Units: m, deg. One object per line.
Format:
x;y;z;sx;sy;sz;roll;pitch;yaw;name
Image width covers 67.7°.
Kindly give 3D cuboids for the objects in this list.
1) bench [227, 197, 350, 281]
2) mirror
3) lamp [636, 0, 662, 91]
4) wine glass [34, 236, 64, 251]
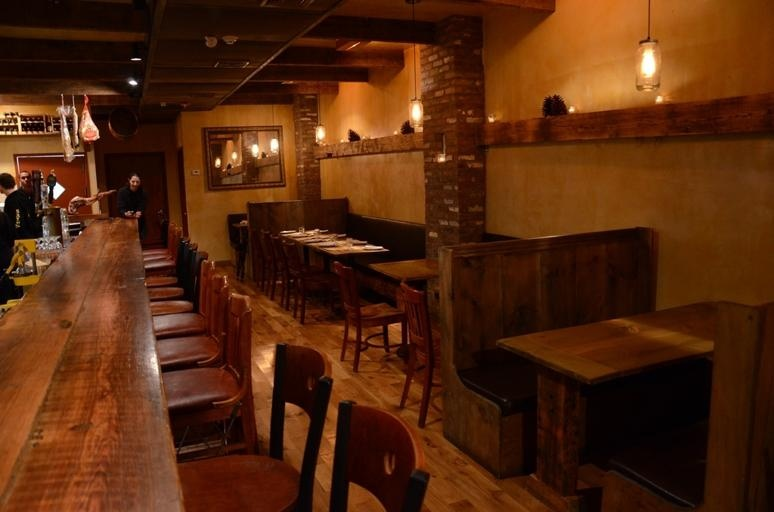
-1.628;-0.279;9.898;1.536;1.108;0.514;-3;13;-18;bench
-3.140;-2.123;12.348;1.319;1.128;0.105;-5;9;-14;mirror
2.230;-1.821;4.909;0.189;0.814;0.618;2;10;25;lamp
-3.210;-0.123;5.492;0.219;0.129;0.378;-8;11;-30;wine glass
